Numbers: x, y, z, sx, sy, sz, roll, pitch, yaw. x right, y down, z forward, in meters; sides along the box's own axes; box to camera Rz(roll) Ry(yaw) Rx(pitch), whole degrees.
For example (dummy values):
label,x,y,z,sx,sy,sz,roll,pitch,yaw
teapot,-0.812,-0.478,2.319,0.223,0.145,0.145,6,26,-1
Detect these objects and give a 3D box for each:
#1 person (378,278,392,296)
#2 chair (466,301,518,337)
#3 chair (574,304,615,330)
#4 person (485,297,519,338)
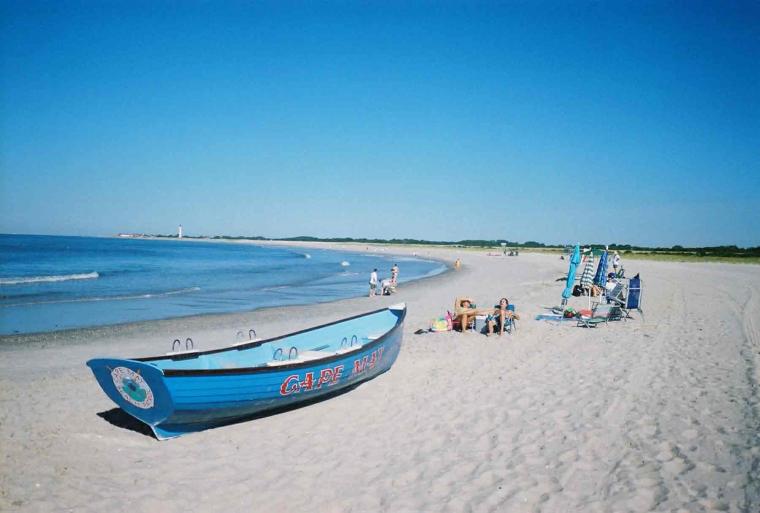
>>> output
label,x,y,z,sx,sy,sz,roll,pitch,yaw
person,0.270,1.992,28.874,0.872,0.970,2.247,4,3,5
chair,3.978,2.092,15.664,1.151,0.781,1.494,2,7,36
chair,7.748,2.167,16.419,0.908,0.426,1.284,-1,-2,-3
person,4.140,2.007,15.565,1.147,0.962,1.981,10,13,23
